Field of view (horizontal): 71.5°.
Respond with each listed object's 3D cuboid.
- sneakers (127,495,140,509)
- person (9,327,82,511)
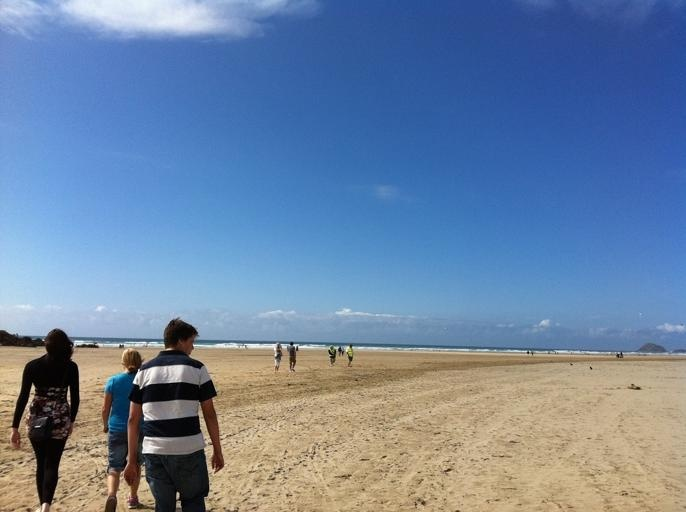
[{"bbox_3d":[-3.594,4.263,8.270,0.315,0.139,0.114,2,-5,-10],"label":"sneakers"},{"bbox_3d":[-4.761,2.597,7.577,0.877,2.783,0.612,5,-13,-27],"label":"person"}]
